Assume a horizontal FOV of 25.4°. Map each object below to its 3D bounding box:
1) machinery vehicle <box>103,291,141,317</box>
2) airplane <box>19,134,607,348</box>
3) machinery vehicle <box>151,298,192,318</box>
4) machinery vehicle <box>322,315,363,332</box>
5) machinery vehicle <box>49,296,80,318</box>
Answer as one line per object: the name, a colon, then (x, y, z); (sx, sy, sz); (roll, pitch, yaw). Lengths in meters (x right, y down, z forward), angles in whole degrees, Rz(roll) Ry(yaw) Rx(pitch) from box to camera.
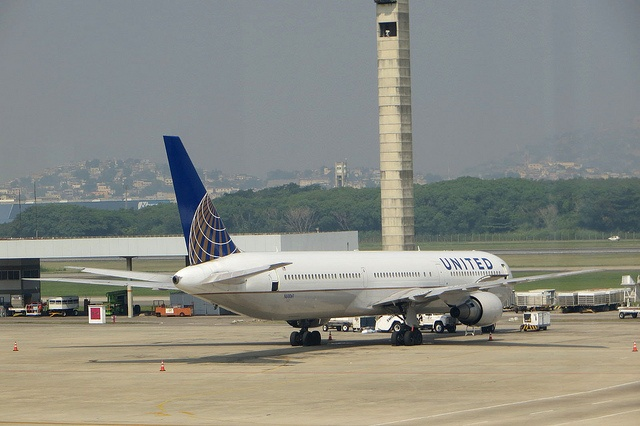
machinery vehicle: (-21.568, 9.723, 153.572); (2.234, 1.884, 4.597); (-2, -3, 16)
airplane: (0.674, 2.809, 120.919); (31.546, 14.636, 8.807); (2, 1, -21)
machinery vehicle: (-15.728, 9.985, 149.688); (4.067, 1.394, 1.896); (1, 0, -1)
machinery vehicle: (2.055, 10.321, 132.523); (3.584, 1.676, 1.769); (1, -3, 22)
machinery vehicle: (-27.566, 9.992, 153.593); (1.712, 1.691, 3.345); (-3, -5, 28)
